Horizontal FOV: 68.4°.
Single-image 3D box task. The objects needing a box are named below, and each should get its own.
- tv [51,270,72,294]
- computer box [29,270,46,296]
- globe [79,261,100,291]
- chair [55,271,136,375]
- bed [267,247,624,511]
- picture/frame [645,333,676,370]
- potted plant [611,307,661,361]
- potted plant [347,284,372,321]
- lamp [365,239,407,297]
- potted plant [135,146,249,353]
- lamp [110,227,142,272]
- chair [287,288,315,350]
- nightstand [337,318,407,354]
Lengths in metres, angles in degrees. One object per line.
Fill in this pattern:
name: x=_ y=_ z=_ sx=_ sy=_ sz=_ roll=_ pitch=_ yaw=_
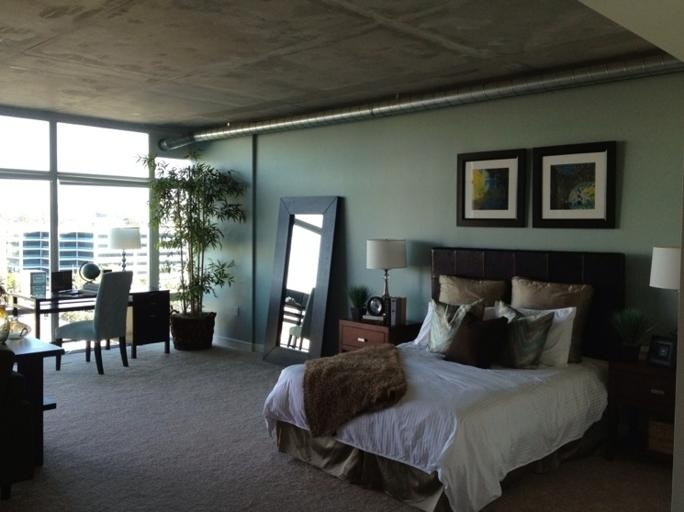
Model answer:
tv: x=-3.842 y=0.366 z=6.895 sx=0.272 sy=0.306 sz=0.037 roll=2 pitch=-3 yaw=-40
computer box: x=-4.018 y=0.365 z=6.678 sx=0.179 sy=0.294 sz=0.361 roll=-3 pitch=7 yaw=-35
globe: x=-3.599 y=0.281 z=7.182 sx=0.341 sy=0.474 sz=0.287 roll=3 pitch=-5 yaw=-25
chair: x=-3.169 y=0.825 z=6.452 sx=0.750 sy=1.238 sz=0.685 roll=2 pitch=1 yaw=21
bed: x=1.162 y=1.190 z=4.337 sx=2.167 sy=1.522 sz=2.192 roll=3 pitch=6 yaw=44
picture/frame: x=2.679 y=0.793 z=4.212 sx=0.206 sy=0.230 sz=0.200 roll=6 pitch=7 yaw=44
potted plant: x=2.521 y=0.649 z=4.371 sx=0.403 sy=0.582 sz=0.475 roll=1 pitch=2 yaw=33
potted plant: x=0.219 y=0.594 z=6.220 sx=0.227 sy=0.385 sz=0.271 roll=0 pitch=-13 yaw=7
lamp: x=0.518 y=0.159 z=5.922 sx=0.473 sy=0.759 sz=0.479 roll=-5 pitch=8 yaw=-30
potted plant: x=-2.229 y=-0.082 z=7.809 sx=1.507 sy=2.928 sz=0.945 roll=-1 pitch=5 yaw=-11
lamp: x=-3.246 y=-0.113 z=7.538 sx=0.404 sy=0.636 sz=0.513 roll=-2 pitch=6 yaw=-26
chair: x=-0.538 y=0.916 z=6.881 sx=0.335 sy=0.846 sz=0.281 roll=5 pitch=-5 yaw=23
nightstand: x=0.356 y=1.015 z=5.937 sx=0.734 sy=0.495 sz=0.423 roll=3 pitch=4 yaw=40
